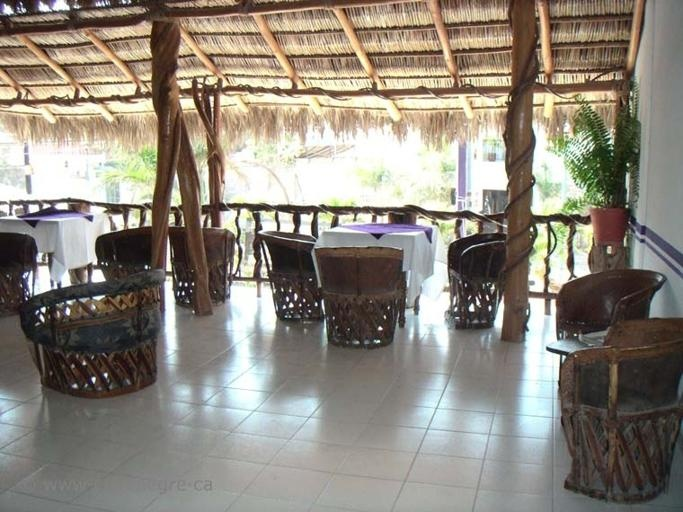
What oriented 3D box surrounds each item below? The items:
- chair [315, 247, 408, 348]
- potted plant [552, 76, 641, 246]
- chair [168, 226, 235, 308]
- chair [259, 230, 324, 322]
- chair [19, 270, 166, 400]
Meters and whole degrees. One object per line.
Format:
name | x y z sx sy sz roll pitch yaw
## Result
chair | 0.149 0.253 4.632 0.647 0.833 0.782 -2 14 -2
potted plant | 2.313 -0.880 5.097 0.672 1.403 0.816 4 13 23
chair | -1.467 0.052 5.811 0.686 0.852 0.695 -7 14 -44
chair | -0.503 0.189 5.329 0.597 0.792 0.684 7 3 32
chair | -1.681 0.461 3.797 0.759 0.827 0.850 9 9 8
